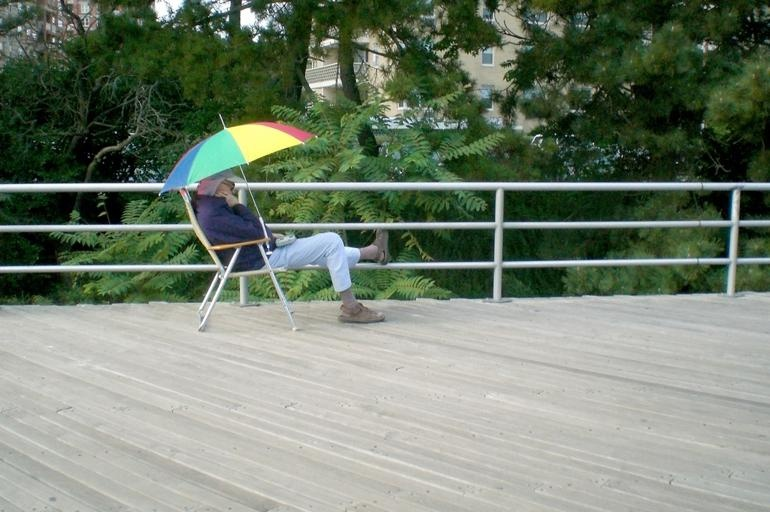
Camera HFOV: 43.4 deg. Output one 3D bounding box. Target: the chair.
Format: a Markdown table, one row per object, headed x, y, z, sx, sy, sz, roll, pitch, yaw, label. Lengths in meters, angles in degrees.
| x | y | z | sx | sy | sz | roll | pitch | yaw | label |
| --- | --- | --- | --- | --- | --- | --- | --- | --- | --- |
| -1.925 | -0.004 | 11.923 | 1.643 | 2.242 | 1.583 | -3 | 4 | -11 | chair |

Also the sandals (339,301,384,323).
| x | y | z | sx | sy | sz | roll | pitch | yaw | label |
| --- | --- | --- | --- | --- | --- | --- | --- | --- | --- |
| -0.273 | 0.635 | 11.246 | 0.490 | 0.217 | 0.232 | -1 | 7 | -6 | sandals |

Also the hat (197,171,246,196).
| x | y | z | sx | sy | sz | roll | pitch | yaw | label |
| --- | --- | --- | --- | --- | --- | --- | --- | --- | --- |
| -1.940 | -0.815 | 11.159 | 0.385 | 0.209 | 0.260 | -25 | 13 | -8 | hat |

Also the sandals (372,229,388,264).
| x | y | z | sx | sy | sz | roll | pitch | yaw | label |
| --- | --- | --- | --- | --- | --- | --- | --- | --- | --- |
| -0.076 | -0.134 | 11.690 | 0.146 | 0.426 | 0.176 | -3 | -6 | 42 | sandals |
